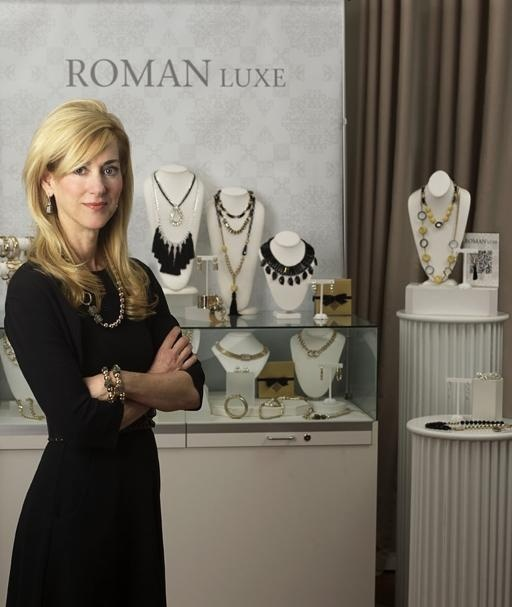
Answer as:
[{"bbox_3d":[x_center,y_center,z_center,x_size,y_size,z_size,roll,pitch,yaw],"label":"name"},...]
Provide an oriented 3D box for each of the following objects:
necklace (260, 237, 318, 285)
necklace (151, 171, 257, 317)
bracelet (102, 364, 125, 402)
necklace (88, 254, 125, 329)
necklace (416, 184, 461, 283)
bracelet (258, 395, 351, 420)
[{"bbox_3d":[0.131,-0.171,2.341,0.205,0.214,0.129,-4,1,-6],"label":"necklace"},{"bbox_3d":[-0.124,-0.201,2.553,0.553,0.571,0.157,4,-7,-6],"label":"necklace"},{"bbox_3d":[-0.281,0.158,1.136,0.018,0.063,0.043,-19,-13,41],"label":"bracelet"},{"bbox_3d":[-0.317,0.004,1.206,0.058,0.088,0.012,-6,-8,-45],"label":"necklace"},{"bbox_3d":[0.713,-0.264,2.261,0.161,0.378,0.093,-3,4,21],"label":"necklace"},{"bbox_3d":[0.164,0.394,2.161,0.212,0.062,0.135,-1,1,0],"label":"bracelet"}]
